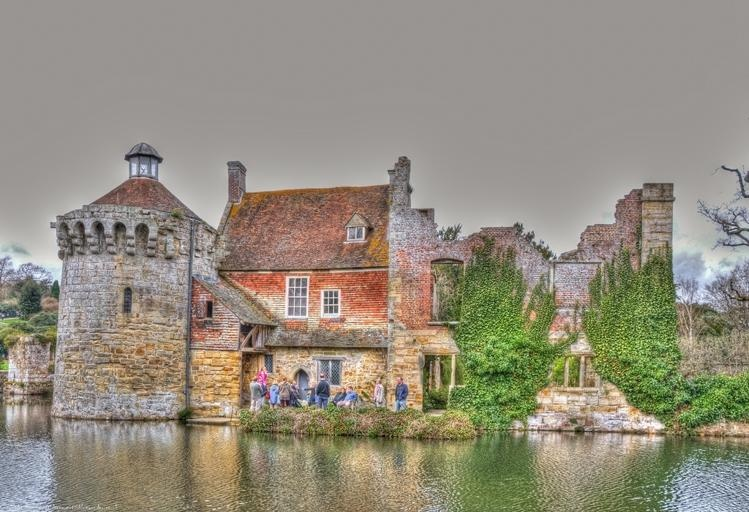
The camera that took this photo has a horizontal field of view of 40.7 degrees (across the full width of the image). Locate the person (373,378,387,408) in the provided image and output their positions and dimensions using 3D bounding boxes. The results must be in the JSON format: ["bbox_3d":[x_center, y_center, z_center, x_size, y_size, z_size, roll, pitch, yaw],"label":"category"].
[{"bbox_3d":[0.212,6.238,46.477,0.594,1.282,1.717,2,0,0],"label":"person"}]

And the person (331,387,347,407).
[{"bbox_3d":[-1.601,6.421,46.370,0.519,0.713,0.303,17,-11,5],"label":"person"}]

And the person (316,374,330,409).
[{"bbox_3d":[-2.403,6.190,45.624,0.738,1.912,0.587,-4,12,-33],"label":"person"}]
